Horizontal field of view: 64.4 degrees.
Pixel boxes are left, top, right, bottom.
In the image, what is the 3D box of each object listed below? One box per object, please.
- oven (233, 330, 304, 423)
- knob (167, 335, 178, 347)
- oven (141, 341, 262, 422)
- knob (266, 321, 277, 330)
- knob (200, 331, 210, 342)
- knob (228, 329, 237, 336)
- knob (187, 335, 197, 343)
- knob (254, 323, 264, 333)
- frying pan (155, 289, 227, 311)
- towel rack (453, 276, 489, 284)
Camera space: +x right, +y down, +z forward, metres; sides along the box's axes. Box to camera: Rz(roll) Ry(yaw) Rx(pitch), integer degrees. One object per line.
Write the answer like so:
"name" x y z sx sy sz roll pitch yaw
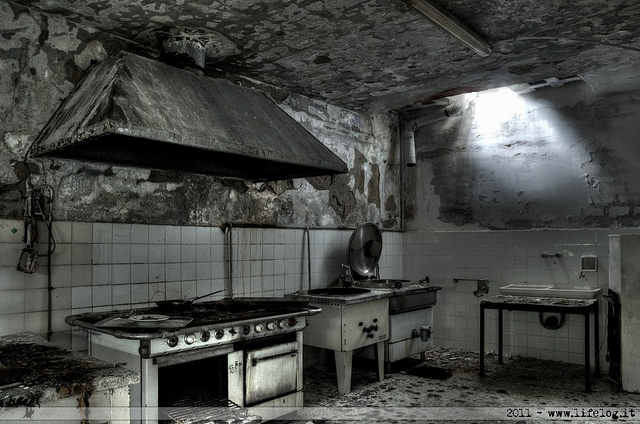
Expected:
"oven" -0.469 1.358 4.719 0.653 0.848 0.950 -10 -13 40
"knob" -1.134 0.990 3.919 0.083 0.076 0.051 5 2 -40
"oven" -0.962 1.372 3.947 0.794 0.576 0.843 -2 5 -5
"knob" -0.429 0.993 4.461 0.070 0.066 0.023 -26 9 -40
"knob" -0.919 0.987 4.061 0.075 0.072 0.040 33 -12 -26
"knob" -0.730 0.992 4.208 0.065 0.057 0.017 2 -4 -32
"knob" -1.013 0.994 3.995 0.054 0.049 0.016 15 -12 -41
"knob" -0.525 0.988 4.355 0.077 0.071 0.024 25 -20 -33
"frying pan" -1.276 0.796 4.613 0.408 0.097 0.368 4 2 -31
"towel rack" 2.023 0.917 6.835 0.462 0.076 0.034 2 6 31
